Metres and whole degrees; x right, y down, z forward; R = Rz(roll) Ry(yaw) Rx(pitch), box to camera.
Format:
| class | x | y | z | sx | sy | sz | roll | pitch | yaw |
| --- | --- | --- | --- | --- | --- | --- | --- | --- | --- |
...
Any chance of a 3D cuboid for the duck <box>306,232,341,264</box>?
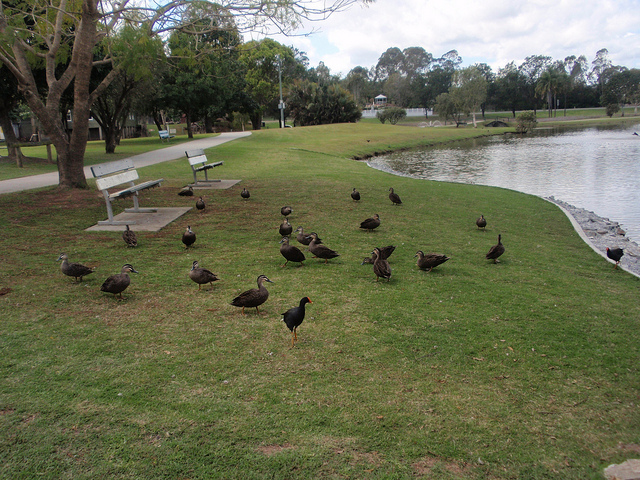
| class | x | y | z | sx | sy | sz | roll | pitch | yaw |
| --- | --- | --- | --- | --- | --- | --- | --- | --- | --- |
| duck | 0.124 | 0.225 | 13.586 | 0.963 | 0.787 | 0.535 | 2 | 5 | -18 |

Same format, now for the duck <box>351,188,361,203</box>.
| class | x | y | z | sx | sy | sz | roll | pitch | yaw |
| --- | --- | --- | --- | --- | --- | --- | --- | --- | --- |
| duck | 1.499 | -1.886 | 20.481 | 0.336 | 0.495 | 0.641 | -4 | 13 | 4 |

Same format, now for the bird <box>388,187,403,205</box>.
| class | x | y | z | sx | sy | sz | roll | pitch | yaw |
| --- | --- | --- | --- | --- | --- | --- | --- | --- | --- |
| bird | 3.224 | -1.823 | 20.453 | 0.463 | 0.718 | 1.268 | -3 | 13 | 10 |

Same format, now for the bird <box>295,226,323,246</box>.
| class | x | y | z | sx | sy | sz | roll | pitch | yaw |
| --- | --- | --- | --- | --- | --- | --- | --- | --- | --- |
| bird | -0.316 | -0.075 | 13.782 | 0.724 | 0.527 | 0.364 | 1 | 2 | 6 |

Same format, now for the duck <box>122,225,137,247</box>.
| class | x | y | z | sx | sy | sz | roll | pitch | yaw |
| --- | --- | --- | --- | --- | --- | --- | --- | --- | --- |
| duck | -5.618 | -0.085 | 14.229 | 0.345 | 0.581 | 0.480 | -10 | 14 | -20 |

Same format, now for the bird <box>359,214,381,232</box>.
| class | x | y | z | sx | sy | sz | roll | pitch | yaw |
| --- | --- | --- | --- | --- | --- | --- | --- | --- | --- |
| bird | 1.739 | -0.591 | 16.382 | 0.678 | 0.485 | 0.370 | -3 | 8 | 17 |

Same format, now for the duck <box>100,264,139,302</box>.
| class | x | y | z | sx | sy | sz | roll | pitch | yaw |
| --- | --- | --- | --- | --- | --- | --- | --- | --- | --- |
| duck | -4.670 | 1.003 | 11.260 | 0.918 | 0.792 | 0.461 | 1 | 8 | 2 |

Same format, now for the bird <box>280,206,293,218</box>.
| class | x | y | z | sx | sy | sz | roll | pitch | yaw |
| --- | --- | --- | --- | --- | --- | --- | --- | --- | --- |
| bird | -1.172 | -1.011 | 16.861 | 0.245 | 0.292 | 0.447 | -5 | 10 | -23 |

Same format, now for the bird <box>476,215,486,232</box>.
| class | x | y | z | sx | sy | sz | roll | pitch | yaw |
| --- | --- | --- | --- | --- | --- | --- | --- | --- | --- |
| bird | 5.867 | -0.573 | 17.516 | 0.281 | 0.589 | 0.485 | -1 | 14 | 18 |

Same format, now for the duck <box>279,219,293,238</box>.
| class | x | y | z | sx | sy | sz | roll | pitch | yaw |
| --- | --- | --- | --- | --- | --- | --- | --- | --- | --- |
| duck | -1.068 | -0.314 | 14.932 | 0.334 | 0.536 | 0.508 | -7 | 13 | -6 |

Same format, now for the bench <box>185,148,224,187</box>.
| class | x | y | z | sx | sy | sz | roll | pitch | yaw |
| --- | --- | --- | --- | --- | --- | --- | --- | --- | --- |
| bench | -5.443 | -3.484 | 22.947 | 1.350 | 1.586 | 2.554 | -1 | 14 | 0 |

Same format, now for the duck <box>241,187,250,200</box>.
| class | x | y | z | sx | sy | sz | roll | pitch | yaw |
| --- | --- | --- | --- | --- | --- | --- | --- | --- | --- |
| duck | -3.103 | -1.864 | 19.994 | 0.287 | 0.412 | 0.727 | -8 | 13 | -13 |

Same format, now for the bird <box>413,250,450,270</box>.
| class | x | y | z | sx | sy | sz | roll | pitch | yaw |
| --- | --- | --- | --- | --- | --- | --- | --- | --- | --- |
| bird | 3.119 | 0.561 | 13.335 | 0.812 | 0.507 | 0.443 | -3 | -6 | 10 |

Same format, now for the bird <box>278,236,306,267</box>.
| class | x | y | z | sx | sy | sz | roll | pitch | yaw |
| --- | --- | --- | --- | --- | --- | --- | --- | --- | --- |
| bird | -0.776 | 0.398 | 13.124 | 0.626 | 0.862 | 0.630 | -6 | 13 | -5 |

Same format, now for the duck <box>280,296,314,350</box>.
| class | x | y | z | sx | sy | sz | roll | pitch | yaw |
| --- | --- | --- | --- | --- | --- | --- | --- | --- | --- |
| duck | -0.498 | 1.693 | 9.916 | 0.737 | 0.896 | 0.683 | 4 | 9 | -6 |

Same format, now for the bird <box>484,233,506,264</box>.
| class | x | y | z | sx | sy | sz | roll | pitch | yaw |
| --- | --- | --- | --- | --- | --- | --- | --- | --- | --- |
| bird | 5.480 | 0.303 | 15.135 | 0.771 | 0.978 | 0.407 | -9 | 29 | 8 |

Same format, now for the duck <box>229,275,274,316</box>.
| class | x | y | z | sx | sy | sz | roll | pitch | yaw |
| --- | --- | --- | --- | --- | --- | --- | --- | --- | --- |
| duck | -1.535 | 1.223 | 10.794 | 0.895 | 0.842 | 0.468 | -2 | 3 | -2 |

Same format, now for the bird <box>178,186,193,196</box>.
| class | x | y | z | sx | sy | sz | roll | pitch | yaw |
| --- | --- | --- | --- | --- | --- | --- | --- | --- | --- |
| bird | -5.429 | -1.940 | 19.542 | 0.494 | 0.372 | 0.265 | -1 | 11 | -18 |

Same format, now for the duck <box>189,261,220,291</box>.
| class | x | y | z | sx | sy | sz | roll | pitch | yaw |
| --- | --- | --- | --- | --- | --- | --- | --- | --- | --- |
| duck | -2.862 | 0.850 | 11.874 | 0.475 | 0.616 | 0.884 | 15 | 12 | 40 |

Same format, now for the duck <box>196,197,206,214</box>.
| class | x | y | z | sx | sy | sz | roll | pitch | yaw |
| --- | --- | --- | --- | --- | --- | --- | --- | --- | --- |
| duck | -4.430 | -1.315 | 17.710 | 0.349 | 0.362 | 0.499 | 0 | 10 | -2 |

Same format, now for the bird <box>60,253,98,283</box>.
| class | x | y | z | sx | sy | sz | roll | pitch | yaw |
| --- | --- | --- | --- | --- | --- | --- | --- | --- | --- |
| bird | -5.989 | 0.680 | 11.948 | 0.849 | 0.610 | 0.427 | 0 | 3 | -39 |

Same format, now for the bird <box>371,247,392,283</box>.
| class | x | y | z | sx | sy | sz | roll | pitch | yaw |
| --- | --- | --- | --- | --- | --- | --- | --- | --- | --- |
| bird | 1.618 | 0.684 | 12.670 | 0.419 | 0.797 | 1.132 | -6 | 17 | -9 |
